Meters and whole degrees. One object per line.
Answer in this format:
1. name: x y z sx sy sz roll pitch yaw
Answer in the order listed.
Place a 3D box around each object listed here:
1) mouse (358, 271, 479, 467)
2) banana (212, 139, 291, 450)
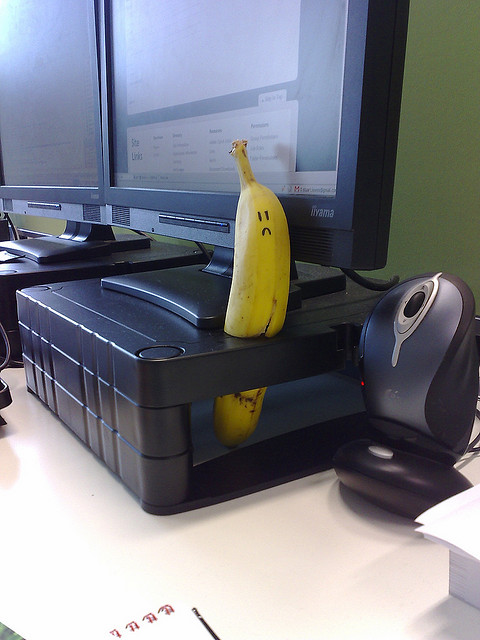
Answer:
1. mouse: 0.154 0.033 0.421 0.053 0.160 0.091 5 -5 -37
2. banana: 0.009 -0.012 0.463 0.078 0.297 0.110 -1 13 6
